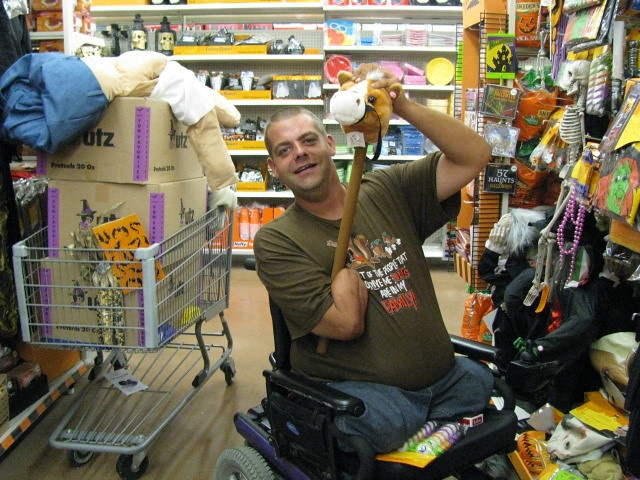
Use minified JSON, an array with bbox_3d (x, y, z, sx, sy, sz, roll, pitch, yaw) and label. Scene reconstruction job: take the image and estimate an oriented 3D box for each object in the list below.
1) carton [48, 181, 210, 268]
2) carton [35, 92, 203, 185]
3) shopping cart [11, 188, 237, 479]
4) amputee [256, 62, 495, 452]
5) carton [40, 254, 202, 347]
[{"bbox_3d":[-0.932,-0.153,2.480,0.444,0.326,0.480,0,2,9],"label":"carton"},{"bbox_3d":[-1.001,-0.524,2.742,0.577,0.386,0.831,3,10,-2],"label":"carton"},{"bbox_3d":[-0.743,0.432,3.093,0.756,1.571,1.526,0,5,7],"label":"shopping cart"},{"bbox_3d":[0.250,0.054,2.040,0.813,1.429,0.721,-11,8,-9],"label":"amputee"},{"bbox_3d":[-0.981,0.208,2.519,0.544,0.417,0.471,4,3,14],"label":"carton"}]
